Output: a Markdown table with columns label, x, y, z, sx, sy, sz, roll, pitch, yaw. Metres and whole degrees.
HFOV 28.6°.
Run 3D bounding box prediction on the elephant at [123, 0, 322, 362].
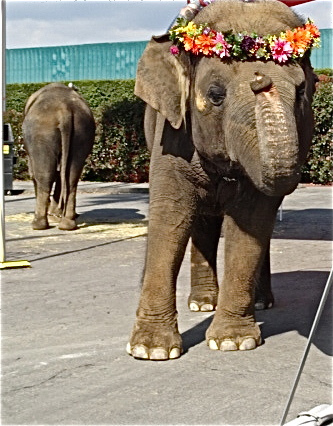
| label | x | y | z | sx | sy | sz | roll | pitch | yaw |
| --- | --- | --- | --- | --- | --- | --- | --- | --- | --- |
| elephant | 0.303 | -0.115 | 3.241 | 0.741 | 1.845 | 1.144 | -5 | 11 | -31 |

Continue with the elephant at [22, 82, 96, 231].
| label | x | y | z | sx | sy | sz | roll | pitch | yaw |
| --- | --- | --- | --- | --- | --- | --- | --- | --- | --- |
| elephant | -1.697 | -1.060 | 10.358 | 1.563 | 2.318 | 3.464 | 5 | 9 | -10 |
